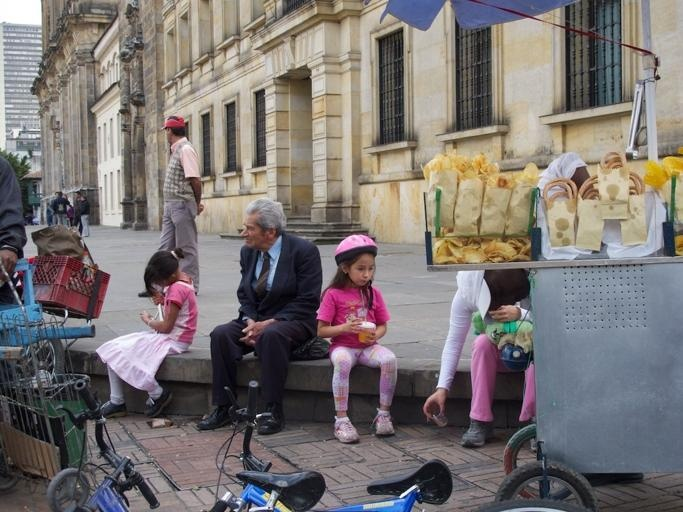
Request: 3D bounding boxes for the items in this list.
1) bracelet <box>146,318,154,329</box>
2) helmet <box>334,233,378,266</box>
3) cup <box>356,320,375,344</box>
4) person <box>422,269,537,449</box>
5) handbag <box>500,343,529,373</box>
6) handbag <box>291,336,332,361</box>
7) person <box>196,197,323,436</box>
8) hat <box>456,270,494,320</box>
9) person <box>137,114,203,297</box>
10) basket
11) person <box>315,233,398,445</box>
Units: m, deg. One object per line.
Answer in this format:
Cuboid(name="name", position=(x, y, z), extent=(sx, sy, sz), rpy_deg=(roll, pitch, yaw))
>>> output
Cuboid(name="bracelet", position=(-1.474, 0.529, 6.550), extent=(0.062, 0.059, 0.084), rpy_deg=(1, 0, -11))
Cuboid(name="helmet", position=(0.099, -0.009, 6.022), extent=(0.237, 0.156, 0.208), rpy_deg=(-20, -4, 26))
Cuboid(name="cup", position=(0.165, 0.533, 5.944), extent=(0.127, 0.131, 0.134), rpy_deg=(4, 7, -1))
Cuboid(name="person", position=(1.061, 0.524, 5.592), extent=(0.714, 1.422, 0.791), rpy_deg=(6, 2, 27))
Cuboid(name="handbag", position=(1.124, 0.675, 5.580), extent=(0.163, 0.185, 0.164), rpy_deg=(0, 0, -31))
Cuboid(name="handbag", position=(-0.218, 0.712, 6.360), extent=(0.183, 0.110, 0.235), rpy_deg=(-1, -9, -38))
Cuboid(name="person", position=(-0.564, 0.395, 6.525), extent=(0.879, 1.796, 0.830), rpy_deg=(0, 1, 30))
Cuboid(name="hat", position=(0.861, 0.252, 5.552), extent=(0.244, 0.308, 0.215), rpy_deg=(1, 5, -2))
Cuboid(name="person", position=(-1.833, -0.633, 9.689), extent=(0.795, 2.544, 0.677), rpy_deg=(-8, 14, -42))
Cuboid(name="basket", position=(-2.123, 0.147, 6.681), extent=(0.489, 0.598, 0.487), rpy_deg=(-3, 11, -27))
Cuboid(name="person", position=(0.154, 0.573, 6.067), extent=(0.573, 1.436, 0.422), rpy_deg=(0, 1, 43))
